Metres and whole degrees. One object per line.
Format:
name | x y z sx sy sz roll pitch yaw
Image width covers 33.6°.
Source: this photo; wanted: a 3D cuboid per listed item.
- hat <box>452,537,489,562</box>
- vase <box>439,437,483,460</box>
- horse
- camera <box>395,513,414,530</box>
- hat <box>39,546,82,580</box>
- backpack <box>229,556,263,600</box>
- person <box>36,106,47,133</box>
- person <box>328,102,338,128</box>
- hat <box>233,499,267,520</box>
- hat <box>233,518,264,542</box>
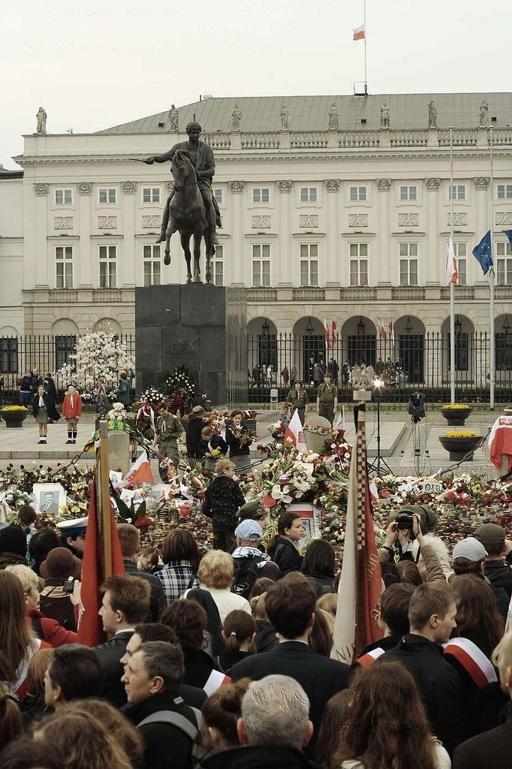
hat | 1.237 0.964 4.940 0.171 0.119 0.210 -1 -2 13
vase | 4.472 1.389 18.562 0.754 0.477 0.759 -1 -4 0
horse | -1.530 -3.622 19.516 0.813 2.691 3.507 3 -2 7
camera | 1.068 0.993 6.107 0.103 0.129 0.143 6 30 6
hat | -1.205 1.114 5.246 0.234 0.238 0.346 0 -2 -13
backpack | -0.054 1.281 5.645 0.214 0.244 0.164 -1 -2 -3
person | -14.450 -17.456 57.088 0.503 2.122 1.319 0 -2 -9
person | 5.087 -17.335 56.221 0.510 1.869 1.085 -1 -2 8
hat | -0.031 1.145 7.667 0.217 0.098 0.175 -12 -3 37
hat | -0.052 1.000 5.801 0.165 0.121 0.205 -1 -2 -6
